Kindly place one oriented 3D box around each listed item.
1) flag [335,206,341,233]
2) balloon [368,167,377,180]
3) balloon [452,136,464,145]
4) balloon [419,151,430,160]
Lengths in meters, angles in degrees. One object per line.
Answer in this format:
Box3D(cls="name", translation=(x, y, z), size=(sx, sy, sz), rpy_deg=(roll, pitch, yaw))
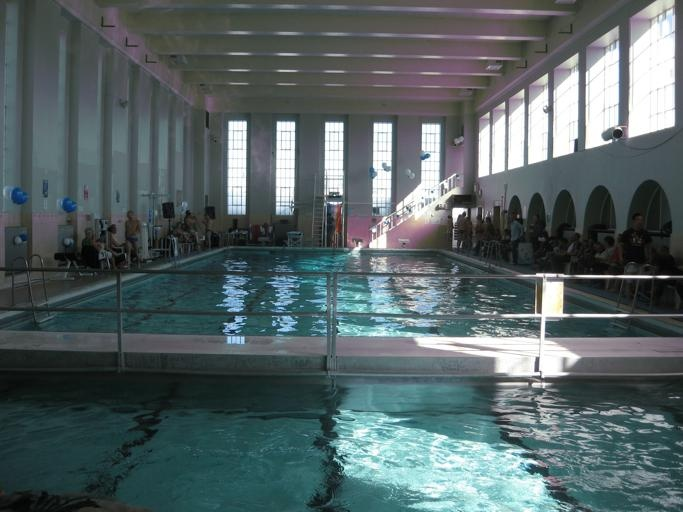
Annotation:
Box3D(cls="flag", translation=(-0.188, -1.987, 28.205), size=(0.228, 1.492, 0.498), rpy_deg=(6, 10, 32))
Box3D(cls="balloon", translation=(1.806, -4.753, 29.666), size=(0.466, 0.764, 0.753), rpy_deg=(1, 8, 3))
Box3D(cls="balloon", translation=(6.408, -6.348, 28.640), size=(0.215, 0.389, 0.528), rpy_deg=(4, -2, -14))
Box3D(cls="balloon", translation=(4.672, -5.672, 29.388), size=(0.519, 0.506, 0.237), rpy_deg=(-1, 10, 15))
